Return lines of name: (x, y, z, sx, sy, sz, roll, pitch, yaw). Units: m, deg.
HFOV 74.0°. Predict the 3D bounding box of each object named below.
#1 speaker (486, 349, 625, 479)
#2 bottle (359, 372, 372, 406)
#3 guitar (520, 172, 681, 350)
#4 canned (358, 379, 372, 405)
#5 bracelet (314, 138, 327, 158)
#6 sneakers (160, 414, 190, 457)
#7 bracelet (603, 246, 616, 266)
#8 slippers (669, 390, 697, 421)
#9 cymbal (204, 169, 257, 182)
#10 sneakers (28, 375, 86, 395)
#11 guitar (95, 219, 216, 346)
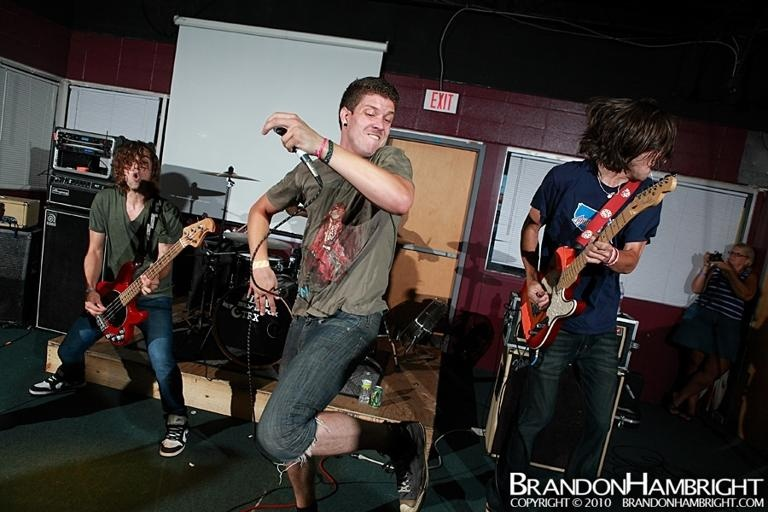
speaker: (1.387, 1.307, 4.191, 1.102, 1.158, 0.678, 8, 13, -1)
bottle: (-0.172, 1.230, 4.697, 0.111, 0.200, 0.060, 4, 1, -6)
guitar: (1.850, 0.035, 4.273, 0.312, 0.820, 2.073, 4, -33, -17)
canned: (-0.173, 1.242, 4.628, 0.124, 0.187, 0.073, 3, -7, 8)
bracelet: (-0.360, -0.625, 2.948, 0.074, 0.119, 0.045, 8, 7, -8)
sneakers: (-1.734, 1.465, 4.246, 0.216, 0.304, 0.281, 6, 7, -19)
bracelet: (1.560, 0.007, 3.519, 0.087, 0.107, 0.082, 8, 2, 25)
slippers: (3.558, 1.780, 6.065, 0.095, 0.302, 0.303, 16, -5, -31)
cymbal: (-1.870, -0.980, 6.247, 0.311, 0.074, 0.309, 7, 12, -6)
sneakers: (-2.876, 1.185, 4.596, 0.500, 0.210, 0.169, 11, -4, -33)
guitar: (-2.036, 0.194, 4.398, 0.829, 1.162, 0.236, 9, 7, -2)
